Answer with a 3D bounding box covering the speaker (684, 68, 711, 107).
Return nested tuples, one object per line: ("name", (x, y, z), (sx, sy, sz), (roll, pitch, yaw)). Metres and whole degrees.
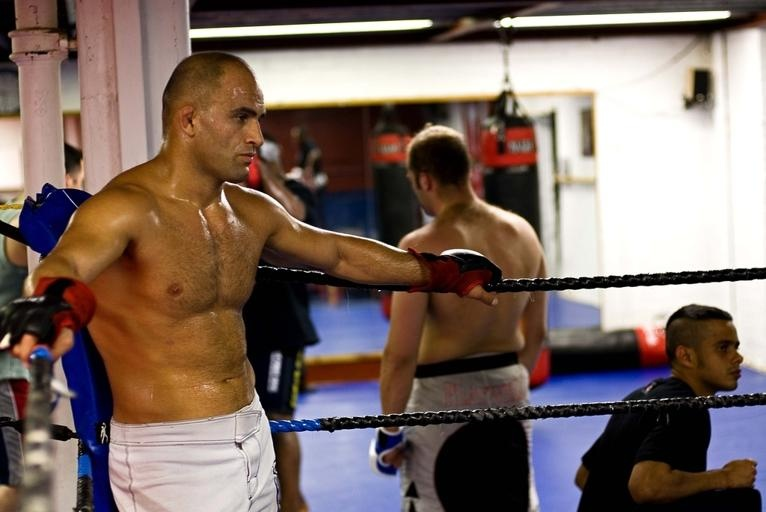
("speaker", (2.489, -1.340, 9.085), (0.128, 0.193, 0.120), (7, -4, -35))
